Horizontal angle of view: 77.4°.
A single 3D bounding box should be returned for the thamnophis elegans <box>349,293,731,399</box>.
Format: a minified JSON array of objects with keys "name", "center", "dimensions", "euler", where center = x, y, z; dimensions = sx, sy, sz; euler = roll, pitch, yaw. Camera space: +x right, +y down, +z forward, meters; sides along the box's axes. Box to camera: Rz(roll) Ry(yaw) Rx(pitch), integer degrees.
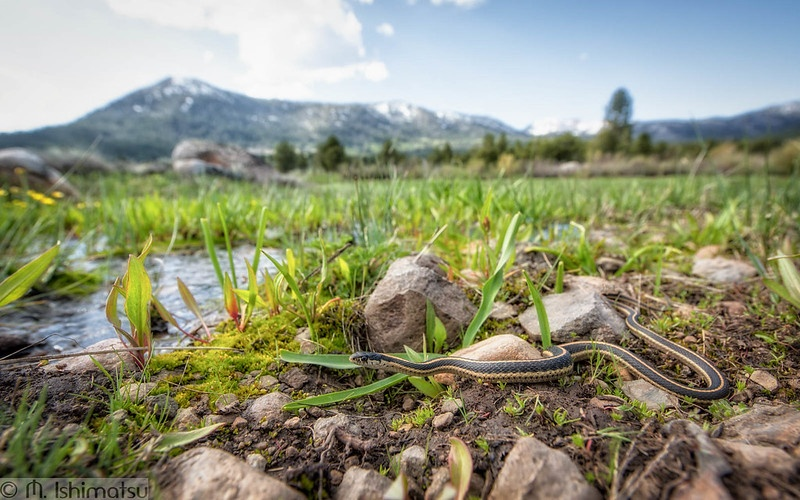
[{"name":"thamnophis elegans","center":[1.299,1.103,5.225],"dimensions":[3.660,0.416,1.687],"euler":[-2,13,2]}]
